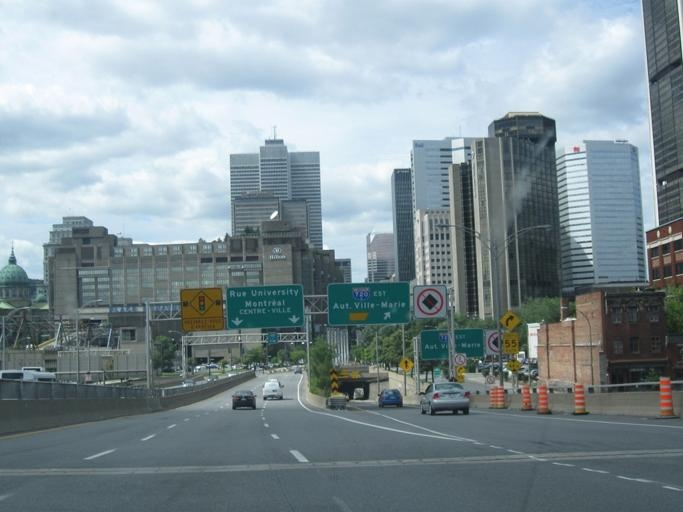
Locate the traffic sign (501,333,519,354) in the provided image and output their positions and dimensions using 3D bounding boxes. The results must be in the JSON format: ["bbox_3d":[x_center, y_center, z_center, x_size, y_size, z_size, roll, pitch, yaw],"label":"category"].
[{"bbox_3d":[11.539,6.024,73.990,1.217,1.606,0.187,-3,4,-39],"label":"traffic sign"}]

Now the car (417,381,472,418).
[{"bbox_3d":[6.834,9.516,71.259,3.617,3.224,8.836,-1,-6,2],"label":"car"}]
